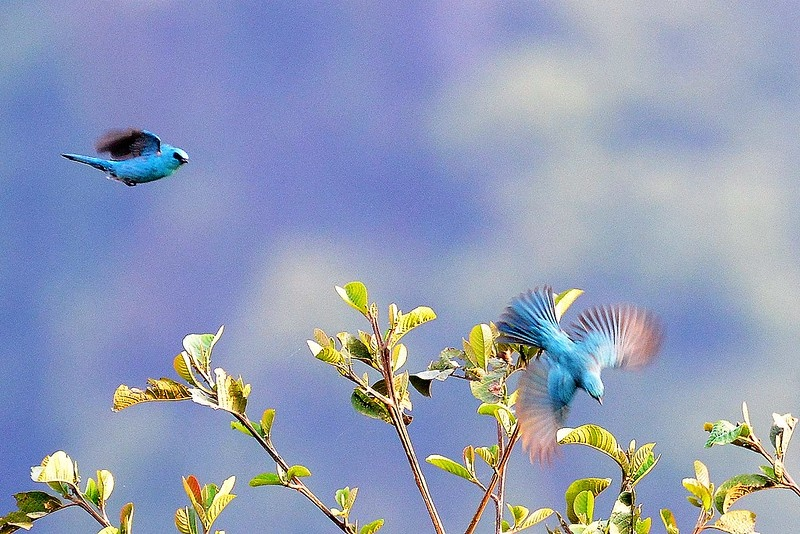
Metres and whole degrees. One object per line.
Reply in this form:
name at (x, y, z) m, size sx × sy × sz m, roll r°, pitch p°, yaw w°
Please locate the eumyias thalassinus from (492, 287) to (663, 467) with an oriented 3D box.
eumyias thalassinus at (0.629, 0.341, 4.383) m, size 0.575 × 0.585 × 0.295 m, roll -5°, pitch -49°, yaw 4°
